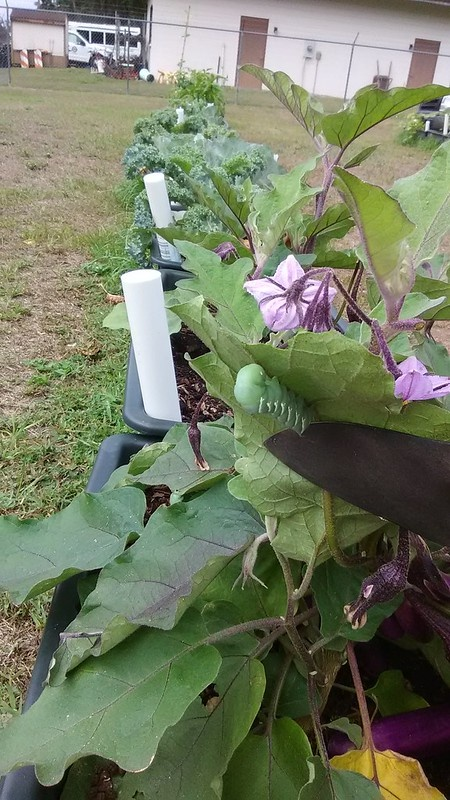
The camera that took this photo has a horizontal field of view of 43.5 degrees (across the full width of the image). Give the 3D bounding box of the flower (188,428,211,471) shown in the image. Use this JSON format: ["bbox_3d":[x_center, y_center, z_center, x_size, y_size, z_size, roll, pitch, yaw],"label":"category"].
[{"bbox_3d":[-0.029,0.057,0.613,0.010,0.041,0.024,-15,-23,13],"label":"flower"}]

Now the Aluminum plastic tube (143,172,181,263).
[{"bbox_3d":[-0.182,-0.541,1.682,0.109,0.243,0.382,3,23,-7],"label":"Aluminum plastic tube"}]
